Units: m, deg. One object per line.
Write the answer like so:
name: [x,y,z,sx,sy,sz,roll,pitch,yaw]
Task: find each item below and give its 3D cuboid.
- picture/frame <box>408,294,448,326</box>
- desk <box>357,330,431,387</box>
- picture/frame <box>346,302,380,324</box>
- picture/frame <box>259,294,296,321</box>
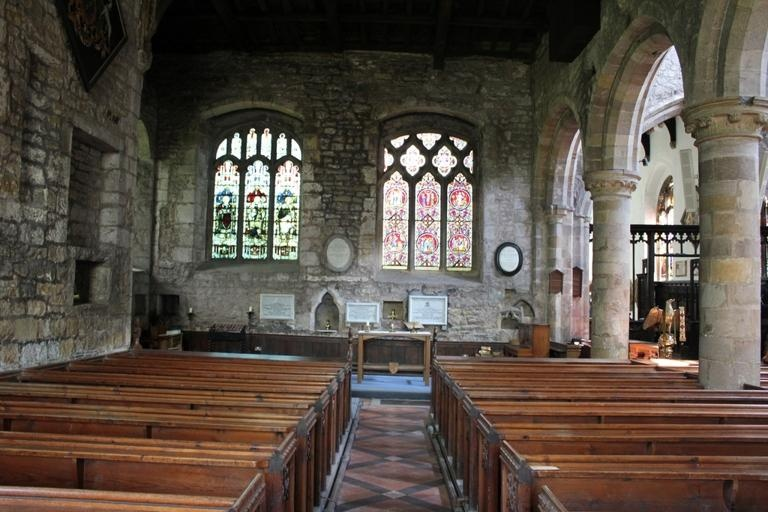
picture/frame: [0.870,1.102,14.311,0.626,0.517,0.062,1,-11,-2]
desk: [0.215,1.850,13.418,1.328,0.907,1.751,0,-4,2]
picture/frame: [-0.449,1.136,14.399,0.689,0.424,0.144,1,-4,-11]
picture/frame: [-2.182,1.030,14.506,0.725,0.532,0.028,0,-4,7]
